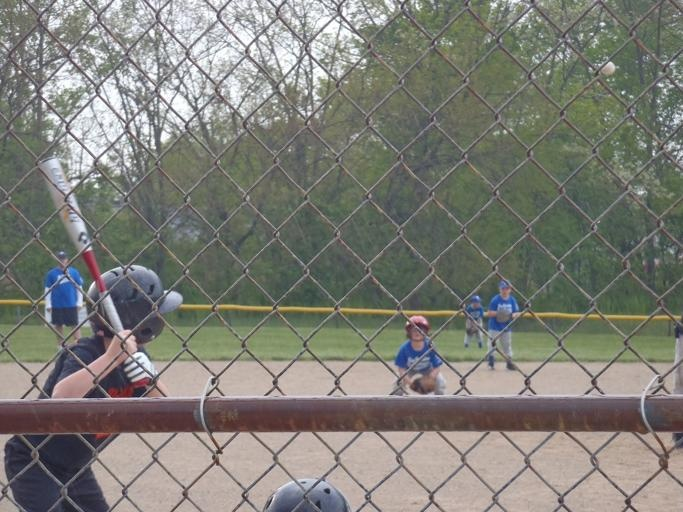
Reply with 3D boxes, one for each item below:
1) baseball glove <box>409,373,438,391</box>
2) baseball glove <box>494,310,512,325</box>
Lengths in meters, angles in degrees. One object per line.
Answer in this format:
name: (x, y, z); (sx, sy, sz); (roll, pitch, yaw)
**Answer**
baseball glove: (2.177, 3.496, 57.864); (0.459, 0.332, 0.770); (-13, -8, 5)
baseball glove: (4.691, 1.813, 62.848); (0.256, 0.388, 0.496); (5, -9, -5)
